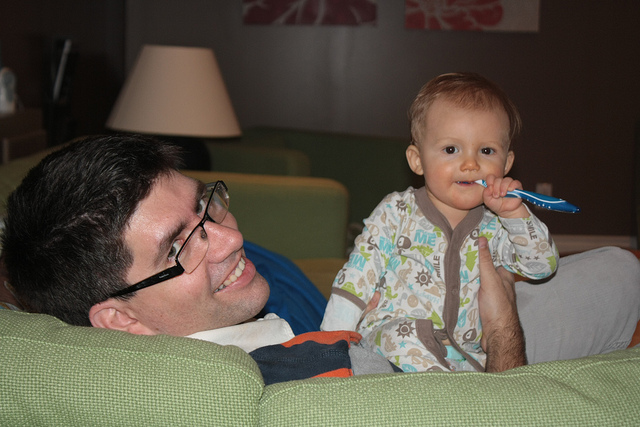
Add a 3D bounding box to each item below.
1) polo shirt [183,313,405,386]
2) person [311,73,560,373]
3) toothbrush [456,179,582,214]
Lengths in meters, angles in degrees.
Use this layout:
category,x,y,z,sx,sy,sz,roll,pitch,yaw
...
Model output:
category,x,y,z,sx,sy,sz,roll,pitch,yaw
polo shirt,-0.049,0.257,1.524,0.401,0.205,0.336,-3,8,-34
person,0.379,0.077,1.762,0.545,0.945,0.595,10,4,18
toothbrush,0.513,-0.095,1.707,0.447,0.054,0.070,19,-7,41
